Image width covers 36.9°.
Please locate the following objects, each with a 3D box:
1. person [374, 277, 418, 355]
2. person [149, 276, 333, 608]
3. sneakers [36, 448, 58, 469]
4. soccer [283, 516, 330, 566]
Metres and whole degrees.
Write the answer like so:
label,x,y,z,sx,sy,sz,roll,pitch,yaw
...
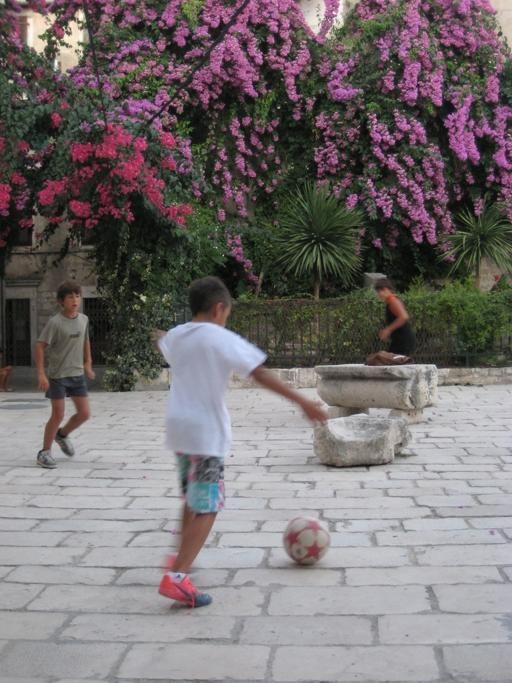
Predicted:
label,x,y,z,sx,sy,sz,roll,pitch,yaw
person,1.760,-0.305,9.800,0.491,1.044,0.827,-1,2,10
person,-0.140,0.435,3.426,0.747,1.461,0.384,-1,2,13
sneakers,-1.884,1.046,6.888,0.135,0.152,0.286,-2,2,-30
soccer,0.253,1.007,3.911,0.280,0.216,0.237,-5,-9,31
